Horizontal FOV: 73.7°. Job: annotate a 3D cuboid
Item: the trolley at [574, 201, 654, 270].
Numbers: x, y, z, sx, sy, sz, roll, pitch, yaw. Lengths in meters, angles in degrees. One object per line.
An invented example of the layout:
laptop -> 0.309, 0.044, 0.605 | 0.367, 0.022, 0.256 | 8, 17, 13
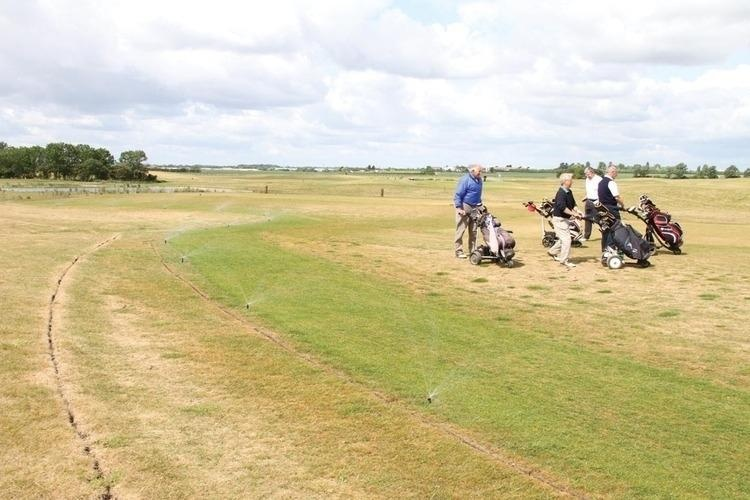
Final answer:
trolley -> 9.419, -0.578, 19.248 | 2.868, 2.853, 2.101 | -4, 11, 24

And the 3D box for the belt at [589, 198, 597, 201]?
belt -> 8.730, -1.970, 19.981 | 0.292, 0.088, 0.188 | -3, 2, -2

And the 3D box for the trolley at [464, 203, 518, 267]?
trolley -> 4.383, -0.504, 18.538 | 1.521, 2.201, 0.955 | 5, 12, 7
